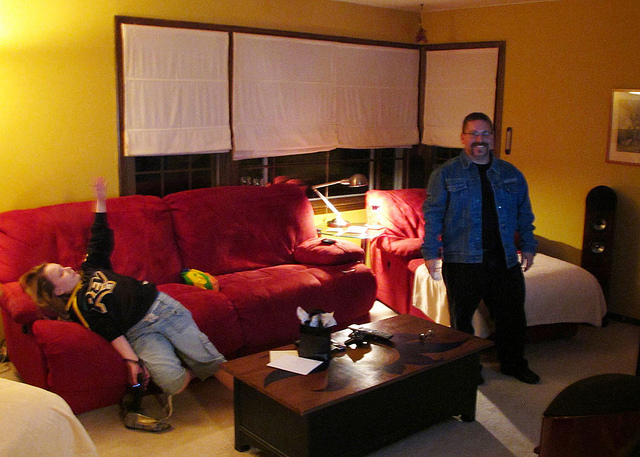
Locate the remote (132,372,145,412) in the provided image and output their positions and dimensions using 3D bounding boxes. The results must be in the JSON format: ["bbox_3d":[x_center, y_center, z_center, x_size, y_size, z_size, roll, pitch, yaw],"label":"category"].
[{"bbox_3d":[-1.131,1.024,3.142,0.041,0.230,0.116,1,14,21],"label":"remote"}]

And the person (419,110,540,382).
[{"bbox_3d":[1.131,0.179,3.531,0.816,1.931,0.397,-3,13,5],"label":"person"}]

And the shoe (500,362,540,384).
[{"bbox_3d":[1.482,1.060,3.746,0.306,0.118,0.112,5,7,42],"label":"shoe"}]

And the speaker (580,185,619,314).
[{"bbox_3d":[2.555,0.209,4.655,0.288,1.120,0.239,3,5,9],"label":"speaker"}]

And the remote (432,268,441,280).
[{"bbox_3d":[0.799,0.307,3.445,0.042,0.095,0.089,1,13,22],"label":"remote"}]

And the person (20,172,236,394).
[{"bbox_3d":[-1.224,0.639,3.266,1.205,0.914,0.422,-2,13,9],"label":"person"}]
